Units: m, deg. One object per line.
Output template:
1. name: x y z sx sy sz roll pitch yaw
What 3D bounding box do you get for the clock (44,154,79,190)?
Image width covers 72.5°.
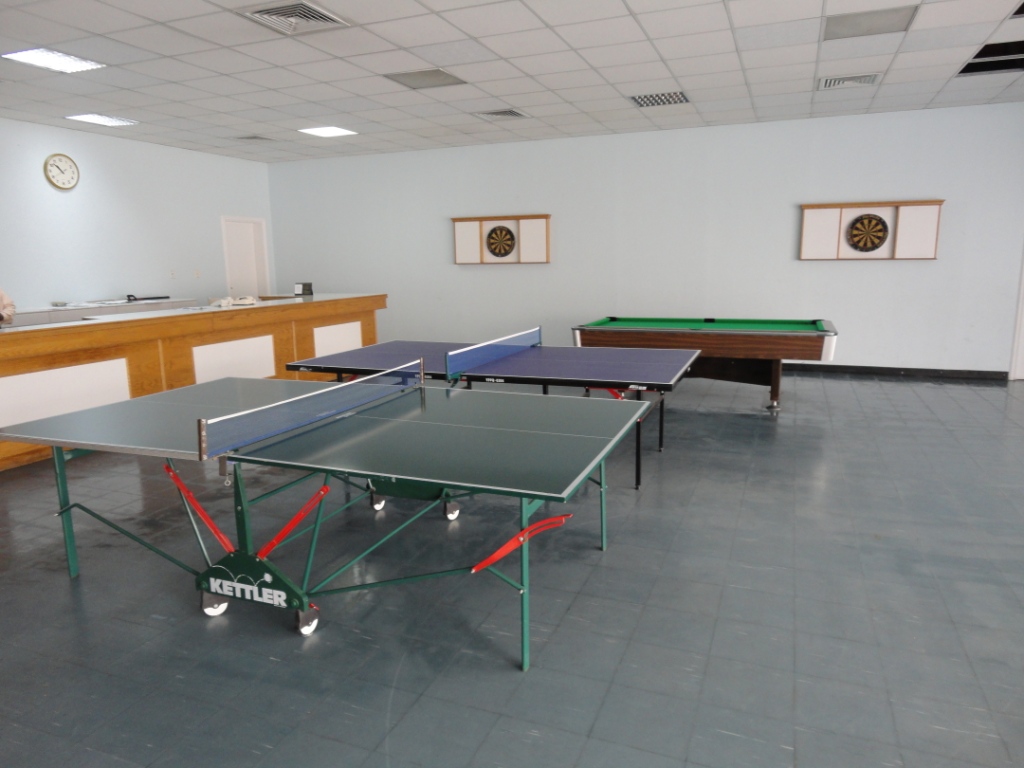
1. clock: -5.492 -2.582 8.480 0.065 0.452 0.448 4 15 20

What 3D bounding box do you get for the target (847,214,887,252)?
1. target: 4.330 -1.855 8.498 0.461 0.453 0.105 6 17 28

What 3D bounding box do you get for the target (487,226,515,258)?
1. target: -0.175 -2.081 10.128 0.447 0.455 0.084 6 17 29
